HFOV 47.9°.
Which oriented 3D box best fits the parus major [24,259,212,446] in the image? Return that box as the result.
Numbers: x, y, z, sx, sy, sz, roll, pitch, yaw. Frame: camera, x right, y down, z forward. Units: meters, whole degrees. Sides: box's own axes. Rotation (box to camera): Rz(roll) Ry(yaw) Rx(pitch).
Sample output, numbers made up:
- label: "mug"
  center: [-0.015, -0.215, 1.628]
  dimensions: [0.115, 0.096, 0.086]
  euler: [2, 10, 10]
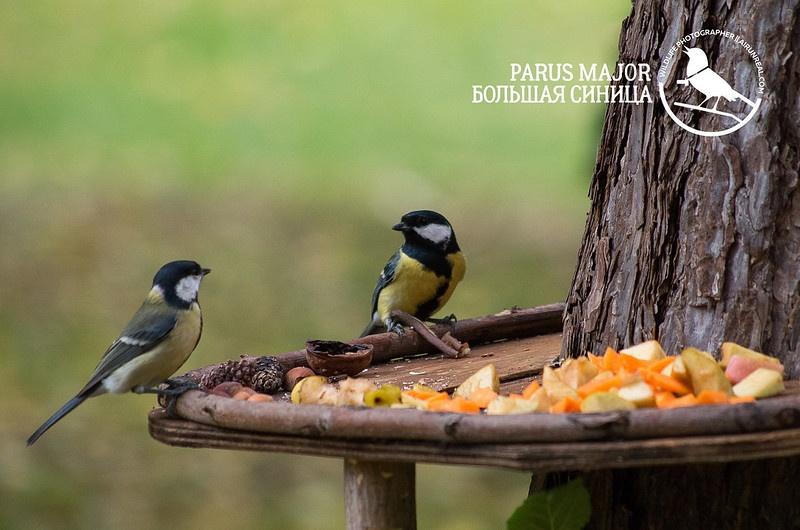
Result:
- label: "parus major"
  center: [-1.204, 0.352, 3.909]
  dimensions: [0.889, 0.599, 0.306]
  euler: [-10, -3, -6]

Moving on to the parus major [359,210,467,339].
- label: "parus major"
  center: [0.033, 0.061, 5.506]
  dimensions: [0.573, 0.808, 0.789]
  euler: [4, -1, -38]
